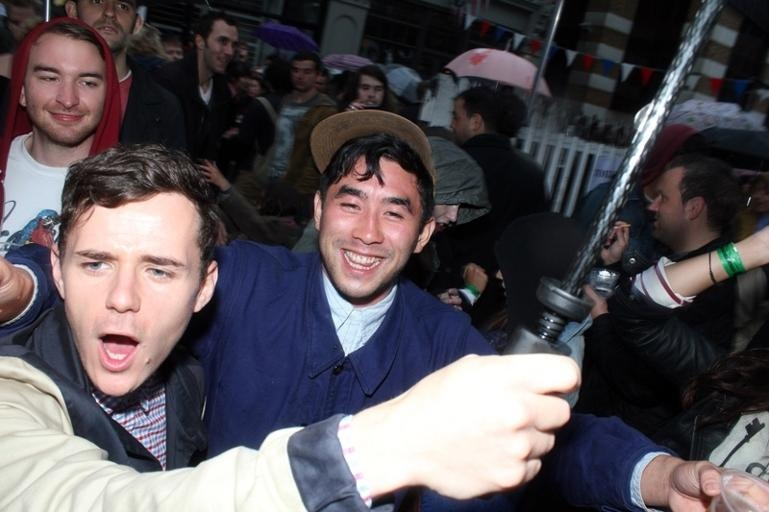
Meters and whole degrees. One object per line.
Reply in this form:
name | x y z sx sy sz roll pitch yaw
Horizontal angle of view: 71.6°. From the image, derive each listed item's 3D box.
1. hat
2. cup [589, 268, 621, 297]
hat | -0.173 -0.567 2.862 0.550 0.532 0.144 9 50 23
cup | 1.292 0.165 3.149 0.153 0.155 0.159 7 -11 1
